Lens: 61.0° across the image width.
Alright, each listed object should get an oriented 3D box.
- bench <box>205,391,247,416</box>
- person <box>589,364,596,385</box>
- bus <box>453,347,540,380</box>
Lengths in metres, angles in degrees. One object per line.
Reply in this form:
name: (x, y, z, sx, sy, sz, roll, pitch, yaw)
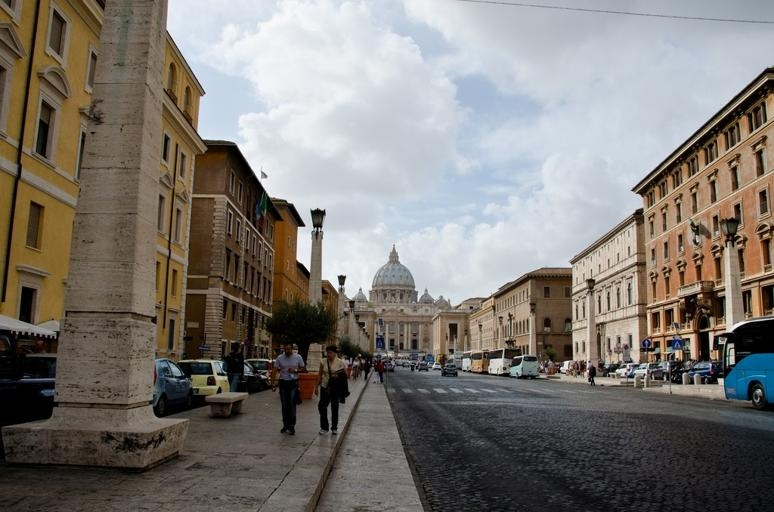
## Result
bench: (-4.665, 4.311, 18.994, 0.801, 0.781, 1.643, -1, -17, 1)
person: (14.931, 8.684, 47.916, 0.402, 1.543, 1.171, -4, -16, 13)
bus: (13.322, 12.342, 76.149, 3.208, 2.346, 15.009, 4, -8, -10)
